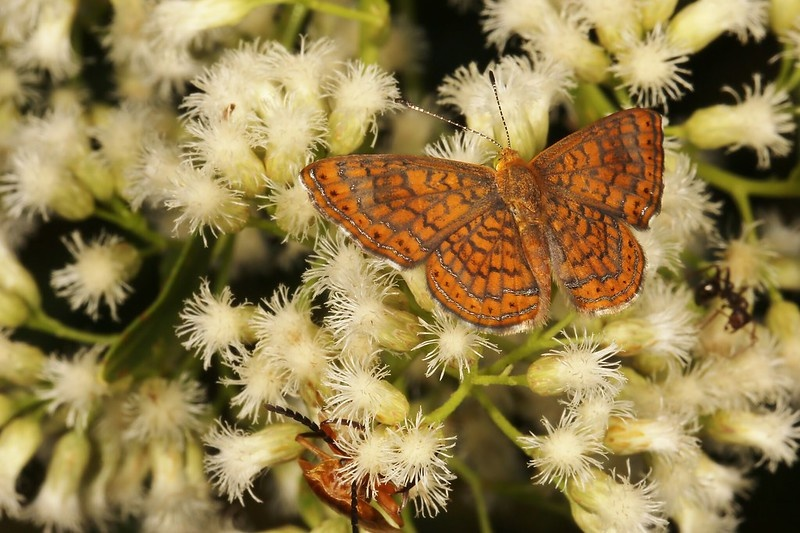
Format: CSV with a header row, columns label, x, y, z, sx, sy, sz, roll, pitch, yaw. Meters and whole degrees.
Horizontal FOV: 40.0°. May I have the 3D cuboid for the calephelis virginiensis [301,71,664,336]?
label,x,y,z,sx,sy,sz,roll,pitch,yaw
calephelis virginiensis,0.249,-0.097,2.552,0.651,0.178,0.622,-12,81,-16
